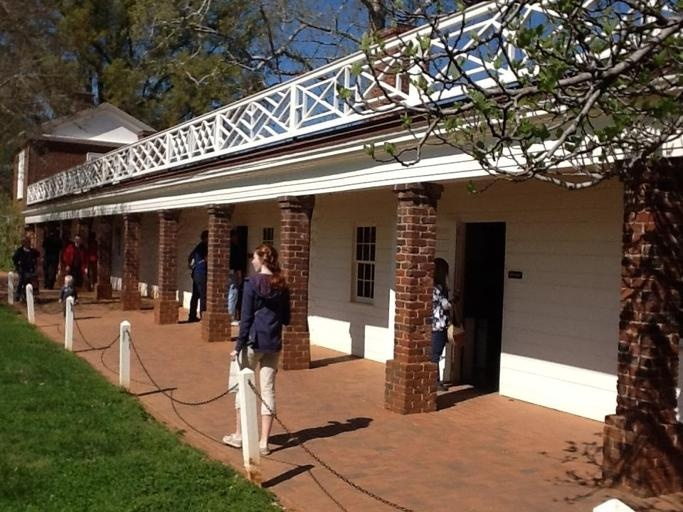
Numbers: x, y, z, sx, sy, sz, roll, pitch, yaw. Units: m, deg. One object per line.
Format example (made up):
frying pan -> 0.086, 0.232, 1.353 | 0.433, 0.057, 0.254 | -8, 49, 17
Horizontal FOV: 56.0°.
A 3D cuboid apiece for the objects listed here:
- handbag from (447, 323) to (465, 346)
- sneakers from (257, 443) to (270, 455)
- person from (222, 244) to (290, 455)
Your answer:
handbag -> 1.902, 1.288, 10.808 | 0.271, 0.446, 0.346 | 0, 2, -14
sneakers -> -0.955, 2.417, 8.029 | 0.073, 0.096, 0.203 | 2, -7, -15
person -> -1.021, 1.166, 8.128 | 0.607, 2.599, 0.760 | 2, 2, 7
